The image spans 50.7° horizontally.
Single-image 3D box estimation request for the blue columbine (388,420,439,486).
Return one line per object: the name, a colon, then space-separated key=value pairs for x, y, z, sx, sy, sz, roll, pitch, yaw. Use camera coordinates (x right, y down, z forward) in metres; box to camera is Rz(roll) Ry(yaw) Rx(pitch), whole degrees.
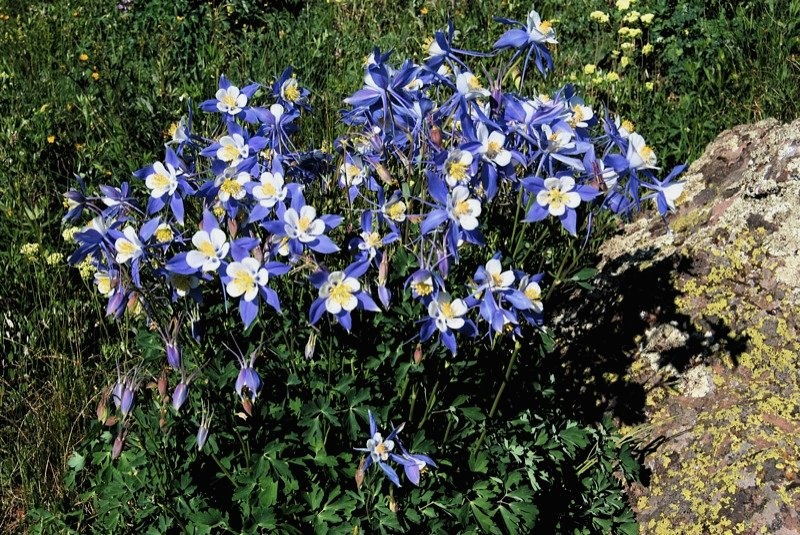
blue columbine: x=0.076 y=1.218 z=5.270 sx=0.185 sy=0.377 sz=0.394 roll=-41 pitch=66 yaw=15
